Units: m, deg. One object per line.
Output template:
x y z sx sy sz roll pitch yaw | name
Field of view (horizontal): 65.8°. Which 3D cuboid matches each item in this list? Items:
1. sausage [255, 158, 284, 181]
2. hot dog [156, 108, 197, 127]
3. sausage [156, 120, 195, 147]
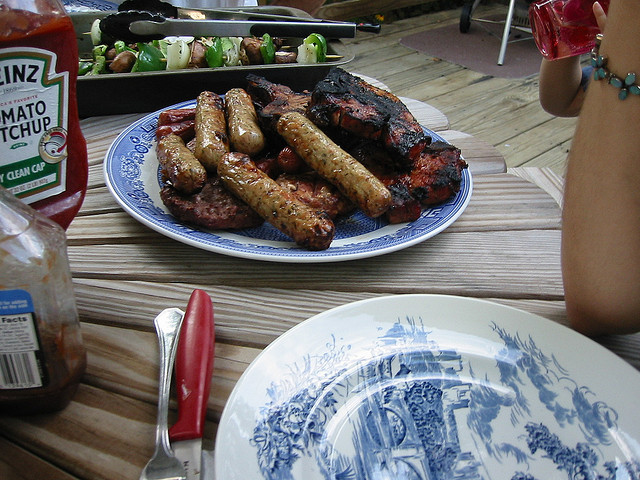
-0.105 -0.156 1.077 0.032 0.021 0.066 40 29 14 | sausage
-0.337 -0.295 1.174 0.100 0.029 0.045 -15 32 -23 | hot dog
-0.323 -0.247 1.143 0.102 0.031 0.047 -19 54 -44 | sausage
